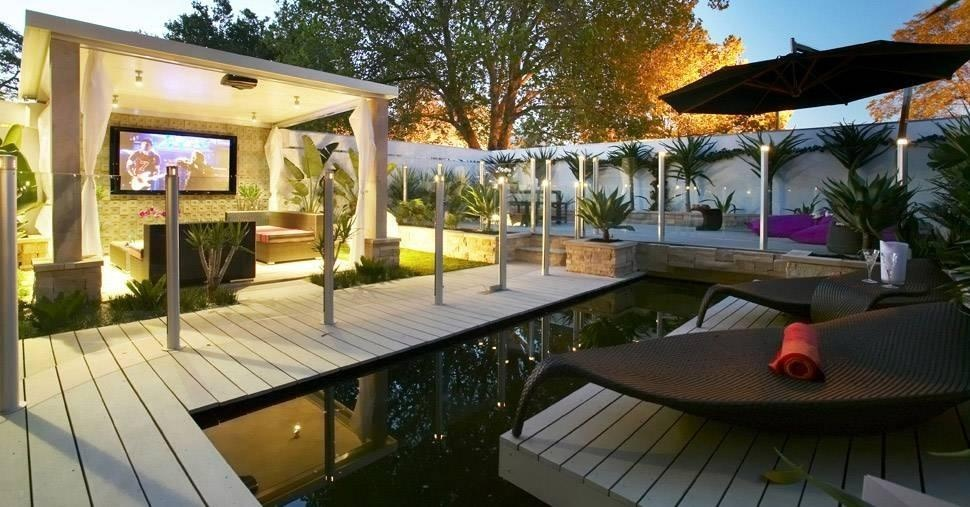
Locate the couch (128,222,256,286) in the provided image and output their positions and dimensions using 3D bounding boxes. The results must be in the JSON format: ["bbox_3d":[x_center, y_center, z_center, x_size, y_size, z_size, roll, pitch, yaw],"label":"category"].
[{"bbox_3d":[-4.928,0.028,9.754,1.800,1.090,0.889,-4,7,-26],"label":"couch"}]

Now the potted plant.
[{"bbox_3d":[2.545,-0.433,11.595,1.766,1.977,1.739,-6,8,-43],"label":"potted plant"}]

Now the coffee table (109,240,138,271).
[{"bbox_3d":[-6.794,0.064,10.657,0.641,0.534,0.151,0,-5,35],"label":"coffee table"}]

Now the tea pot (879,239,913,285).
[{"bbox_3d":[5.233,0.124,7.267,0.304,0.534,0.356,4,8,33],"label":"tea pot"}]

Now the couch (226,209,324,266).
[{"bbox_3d":[-4.724,-0.426,12.632,2.513,0.934,1.400,7,11,42],"label":"couch"}]
